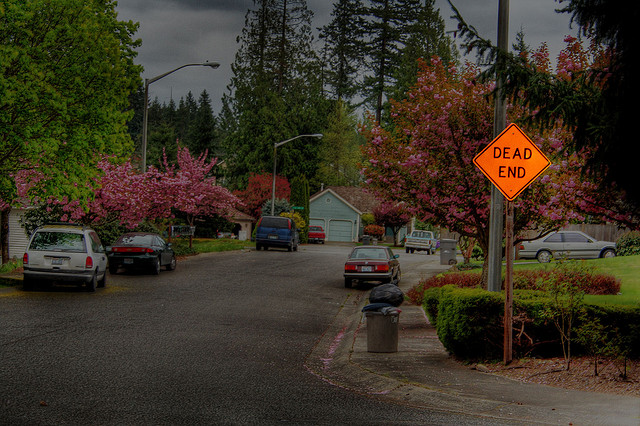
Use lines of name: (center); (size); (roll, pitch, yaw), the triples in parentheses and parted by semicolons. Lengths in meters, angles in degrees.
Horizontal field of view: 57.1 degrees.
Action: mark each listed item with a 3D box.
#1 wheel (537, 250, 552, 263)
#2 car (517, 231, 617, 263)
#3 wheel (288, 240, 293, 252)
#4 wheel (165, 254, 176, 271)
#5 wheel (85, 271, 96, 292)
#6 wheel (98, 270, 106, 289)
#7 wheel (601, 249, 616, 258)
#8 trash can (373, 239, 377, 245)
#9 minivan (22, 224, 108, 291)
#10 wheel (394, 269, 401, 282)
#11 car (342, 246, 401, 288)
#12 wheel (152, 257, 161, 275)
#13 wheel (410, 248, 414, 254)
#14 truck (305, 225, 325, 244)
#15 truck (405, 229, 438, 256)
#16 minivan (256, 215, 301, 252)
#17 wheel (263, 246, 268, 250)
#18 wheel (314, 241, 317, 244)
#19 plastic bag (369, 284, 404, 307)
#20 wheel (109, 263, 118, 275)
wheel: (12.480, 2.436, 32.689); (0.729, 0.769, 0.282); (-4, -9, 42)
car: (13.050, 1.865, 31.240); (3.489, 1.124, 1.646); (-3, -3, 7)
wheel: (-2.119, 2.309, 41.327); (0.228, 0.827, 0.799); (3, 0, 8)
wheel: (-6.823, 2.253, 26.692); (0.292, 0.750, 0.725); (-6, -7, 39)
wheel: (-7.667, 2.382, 19.693); (0.507, 0.534, 0.136); (-2, -5, 26)
wheel: (-7.682, 2.335, 20.659); (0.230, 0.697, 0.676); (1, 0, 9)
wheel: (16.042, 2.245, 32.638); (0.431, 0.462, 0.147); (1, 7, 11)
trash can: (5.875, 3.142, 63.250); (0.473, 0.481, 0.487); (0, -1, -2)
minivan: (-8.423, 1.525, 19.395); (2.270, 2.103, 0.942); (4, -4, -36)
wheel: (3.422, 2.769, 25.805); (0.132, 0.518, 0.496); (13, -14, -40)
car: (2.068, 2.258, 24.485); (2.112, 1.728, 2.264); (1, -4, 5)
wheel: (-6.994, 2.258, 24.950); (0.227, 0.746, 0.725); (0, -3, 10)
wheel: (8.138, 3.411, 52.257); (0.575, 0.591, 0.312); (0, -3, 8)
truck: (-0.651, 2.451, 63.604); (1.765, 1.629, 3.736); (0, 1, -5)
truck: (8.956, 2.639, 52.785); (2.529, 2.218, 3.203); (0, -4, 11)
minivan: (-3.070, 1.440, 43.008); (2.825, 2.352, 5.061); (4, -1, -1)
wheel: (-4.022, 2.588, 42.825); (0.268, 0.275, 0.489); (-2, -1, -5)
wheel: (-0.541, 3.277, 64.216); (0.185, 0.191, 0.335); (0, -23, 3)
plastic bag: (1.727, 2.204, 15.622); (0.865, 0.525, 0.751); (0, -4, 19)
wheel: (-8.838, 2.395, 25.253); (0.464, 0.489, 0.111); (-17, -4, 25)
